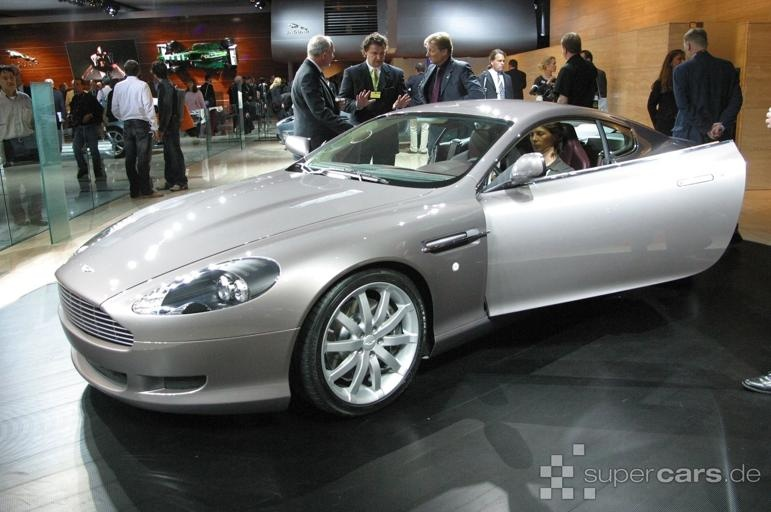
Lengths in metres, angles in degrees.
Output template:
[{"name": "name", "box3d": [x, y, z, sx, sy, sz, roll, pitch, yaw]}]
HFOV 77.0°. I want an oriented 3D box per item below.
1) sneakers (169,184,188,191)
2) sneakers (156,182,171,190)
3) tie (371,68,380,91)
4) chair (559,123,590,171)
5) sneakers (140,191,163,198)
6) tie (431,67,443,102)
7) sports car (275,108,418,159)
[{"name": "sneakers", "box3d": [-3.717, -1.206, 8.705, 0.111, 0.115, 0.311, 8, 7, 24]}, {"name": "sneakers", "box3d": [-3.977, -1.223, 8.672, 0.148, 0.091, 0.148, 0, 6, -3]}, {"name": "tie", "box3d": [-0.111, -1.978, 5.493, 0.100, 0.235, 0.069, -5, 19, -3]}, {"name": "chair", "box3d": [1.270, -0.726, 3.364, 0.248, 0.357, 0.304, 0, 0, 24]}, {"name": "sneakers", "box3d": [-3.974, -1.054, 8.237, 0.274, 0.115, 0.120, -10, 20, -26]}, {"name": "tie", "box3d": [0.626, -2.025, 5.776, 0.103, 0.377, 0.187, -11, 20, -20]}, {"name": "sports car", "box3d": [-1.394, -2.765, 10.729, 2.074, 0.573, 0.885, 0, -7, 19]}]
